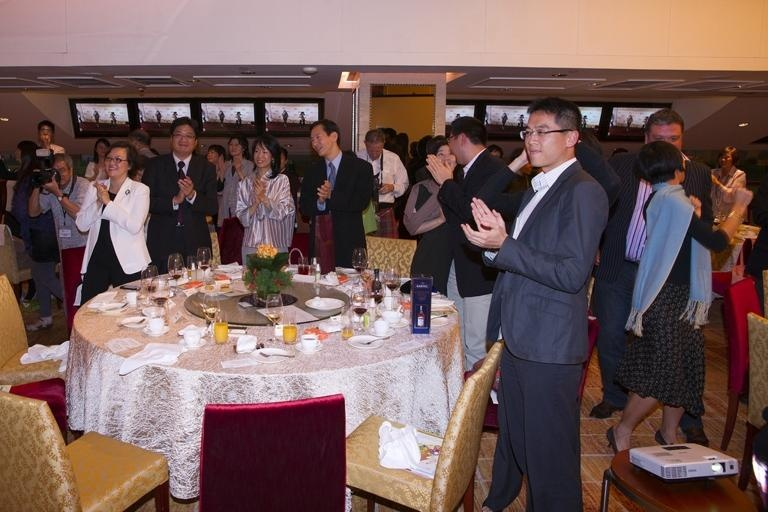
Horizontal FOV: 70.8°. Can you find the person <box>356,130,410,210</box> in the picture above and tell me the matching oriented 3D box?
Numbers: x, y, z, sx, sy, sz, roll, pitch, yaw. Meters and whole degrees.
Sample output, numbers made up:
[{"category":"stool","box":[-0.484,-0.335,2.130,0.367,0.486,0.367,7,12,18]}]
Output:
[{"category":"person","box":[-0.107,-0.967,6.629,0.754,1.092,0.624,7,31,11]}]

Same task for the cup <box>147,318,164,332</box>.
[{"category":"cup","box":[-1.357,0.413,3.198,0.089,0.063,0.072,19,19,21]}]

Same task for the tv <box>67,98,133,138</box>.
[{"category":"tv","box":[-4.705,-2.269,8.949,1.036,0.604,0.270,1,13,10]}]

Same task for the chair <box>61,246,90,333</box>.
[{"category":"chair","box":[-2.629,0.177,4.543,0.145,0.514,0.120,-8,29,-41]}]

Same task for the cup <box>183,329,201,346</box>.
[{"category":"cup","box":[-1.091,0.466,3.062,0.077,0.066,0.097,3,2,7]}]

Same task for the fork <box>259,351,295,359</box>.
[{"category":"fork","box":[-0.609,0.554,3.006,0.149,0.022,0.030,-1,14,5]}]

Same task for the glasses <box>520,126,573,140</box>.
[{"category":"glasses","box":[0.865,-0.671,2.977,0.161,0.058,0.305,-11,16,-36]}]

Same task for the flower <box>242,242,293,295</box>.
[{"category":"flower","box":[-0.833,0.118,3.648,0.304,0.367,0.315,0,21,-20]}]

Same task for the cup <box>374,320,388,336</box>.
[{"category":"cup","box":[-0.023,0.440,3.229,0.071,0.061,0.090,0,-1,7]}]

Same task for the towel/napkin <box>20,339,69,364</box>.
[{"category":"towel/napkin","box":[-2.331,0.669,3.722,0.255,0.078,0.197,3,10,-18]}]

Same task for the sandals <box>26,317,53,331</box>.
[{"category":"sandals","box":[-3.785,0.749,5.946,0.275,0.118,0.125,0,3,-37]}]

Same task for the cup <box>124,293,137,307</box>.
[{"category":"cup","box":[-1.699,0.304,3.603,0.070,0.069,0.085,-2,-5,38]}]

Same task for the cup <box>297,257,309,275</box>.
[{"category":"cup","box":[-0.640,0.089,4.298,0.125,0.173,0.122,0,-1,0]}]

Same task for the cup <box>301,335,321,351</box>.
[{"category":"cup","box":[-0.424,0.498,3.049,0.078,0.069,0.098,0,-8,5]}]

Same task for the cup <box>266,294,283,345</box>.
[{"category":"cup","box":[-0.658,0.387,3.229,0.124,0.293,0.123,2,17,-1]}]

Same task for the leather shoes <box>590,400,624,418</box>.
[{"category":"leather shoes","box":[1.842,1.264,4.456,0.302,0.128,0.115,-1,2,-20]}]

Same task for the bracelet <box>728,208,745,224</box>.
[{"category":"bracelet","box":[2.348,-0.266,3.580,0.030,0.074,0.100,19,-13,-9]}]

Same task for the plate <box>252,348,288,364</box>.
[{"category":"plate","box":[-0.635,0.554,3.003,0.206,0.043,0.121,-3,13,-9]}]

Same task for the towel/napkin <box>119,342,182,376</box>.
[{"category":"towel/napkin","box":[-1.282,0.572,2.995,0.307,0.113,0.195,-2,13,-1]}]

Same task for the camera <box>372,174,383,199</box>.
[{"category":"camera","box":[-0.072,-0.757,5.961,0.078,0.242,0.182,3,4,-41]}]
